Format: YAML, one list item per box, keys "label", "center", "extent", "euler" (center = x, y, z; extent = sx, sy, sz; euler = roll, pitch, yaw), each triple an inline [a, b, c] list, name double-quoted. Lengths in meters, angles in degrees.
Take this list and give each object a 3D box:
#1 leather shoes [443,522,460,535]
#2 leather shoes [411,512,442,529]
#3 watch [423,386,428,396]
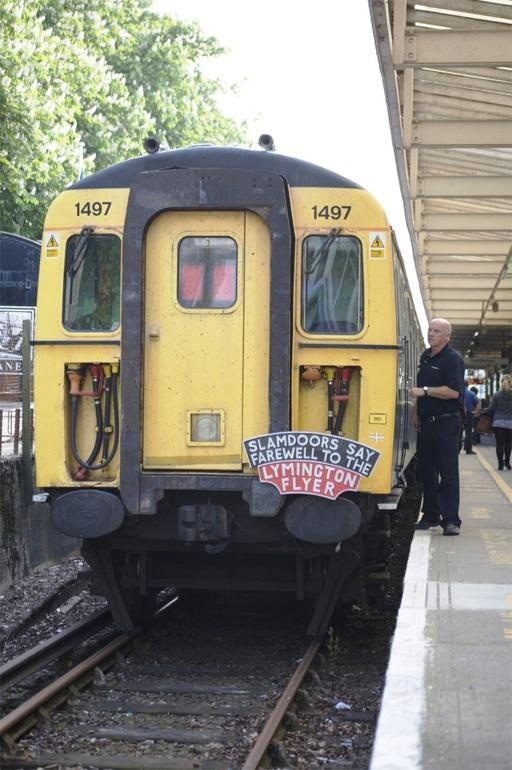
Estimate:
- label: "leather shoes"
  center: [1.711, 1.276, 7.176]
  extent: [0.130, 0.102, 0.215]
  euler: [-1, -4, 10]
- label: "leather shoes"
  center: [1.592, 1.285, 7.579]
  extent: [0.311, 0.139, 0.103]
  euler: [4, -10, -28]
- label: "watch"
  center: [1.461, 0.062, 7.045]
  extent: [0.047, 0.078, 0.071]
  euler: [1, -33, 6]
